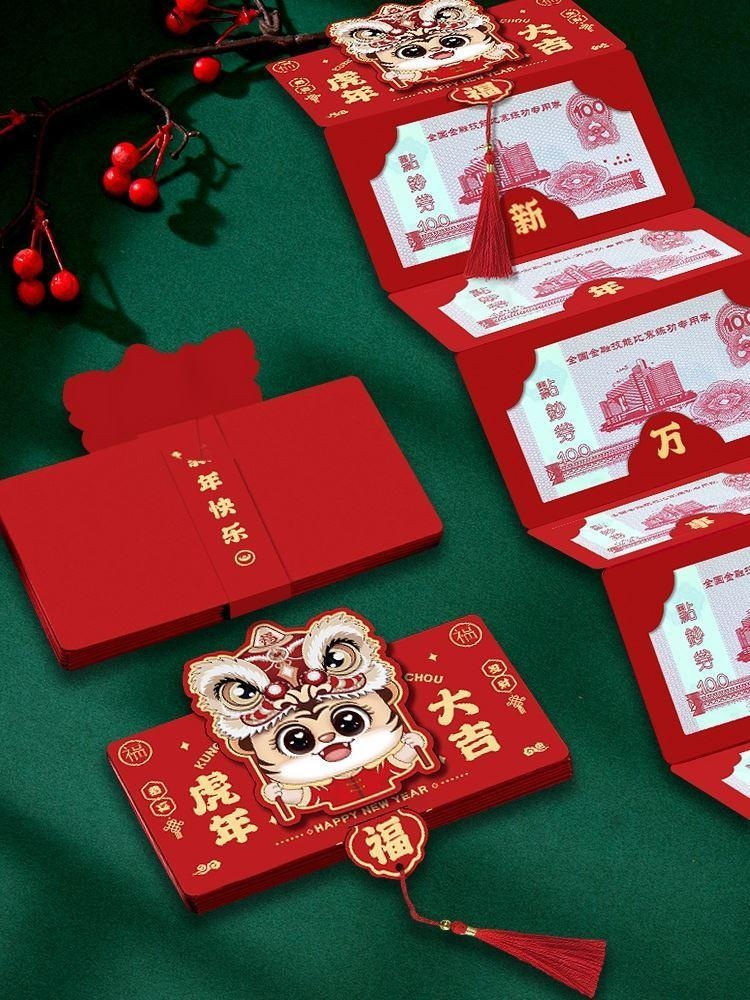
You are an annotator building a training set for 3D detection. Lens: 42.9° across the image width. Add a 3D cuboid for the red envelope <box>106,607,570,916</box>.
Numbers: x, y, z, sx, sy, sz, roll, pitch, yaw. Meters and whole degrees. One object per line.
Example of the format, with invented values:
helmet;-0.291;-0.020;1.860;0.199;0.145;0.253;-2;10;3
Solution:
red envelope;-0.045;0.207;0.885;0.368;0.064;0.238;-21;50;-9
